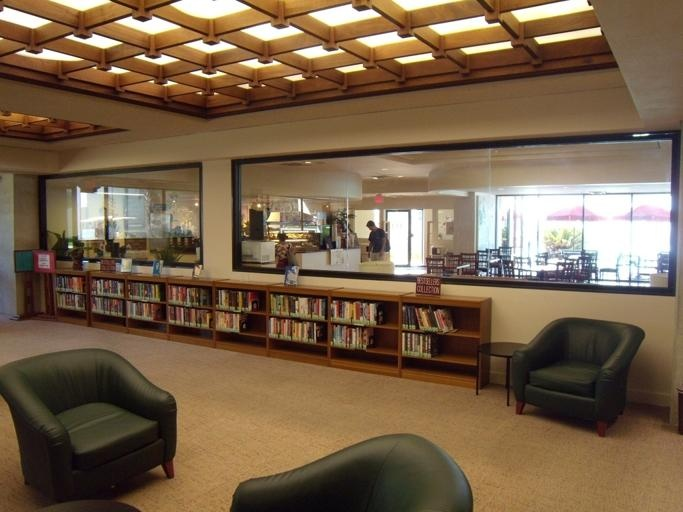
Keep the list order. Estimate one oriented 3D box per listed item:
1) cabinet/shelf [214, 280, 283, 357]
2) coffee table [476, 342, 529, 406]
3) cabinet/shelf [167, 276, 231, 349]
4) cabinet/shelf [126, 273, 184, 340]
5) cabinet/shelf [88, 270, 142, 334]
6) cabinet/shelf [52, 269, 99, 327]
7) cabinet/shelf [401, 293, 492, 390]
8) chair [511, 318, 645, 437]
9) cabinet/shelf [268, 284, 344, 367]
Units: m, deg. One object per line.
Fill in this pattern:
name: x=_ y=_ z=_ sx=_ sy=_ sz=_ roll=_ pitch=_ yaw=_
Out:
cabinet/shelf: x=-1.364 y=0.900 z=7.847 sx=1.076 sy=0.960 sz=0.349 roll=1 pitch=1 yaw=28
coffee table: x=1.812 y=1.311 z=6.046 sx=0.572 sy=0.474 sz=0.650 roll=0 pitch=-3 yaw=10
cabinet/shelf: x=-2.263 y=0.880 z=8.409 sx=1.124 sy=1.032 sz=0.393 roll=3 pitch=5 yaw=26
cabinet/shelf: x=-3.046 y=0.812 z=8.702 sx=1.064 sy=1.021 sz=0.349 roll=0 pitch=0 yaw=34
cabinet/shelf: x=-3.879 y=0.764 z=9.148 sx=1.036 sy=0.966 sz=0.339 roll=2 pitch=3 yaw=39
cabinet/shelf: x=-4.822 y=0.736 z=9.680 sx=1.013 sy=0.896 sz=0.332 roll=-1 pitch=-2 yaw=39
cabinet/shelf: x=1.282 y=1.037 z=6.703 sx=1.112 sy=1.061 sz=0.386 roll=4 pitch=0 yaw=33
chair: x=2.542 y=1.198 z=5.668 sx=1.138 sy=0.954 sz=1.159 roll=4 pitch=4 yaw=40
cabinet/shelf: x=-0.471 y=0.943 z=7.371 sx=1.108 sy=0.958 sz=0.332 roll=0 pitch=-1 yaw=34
